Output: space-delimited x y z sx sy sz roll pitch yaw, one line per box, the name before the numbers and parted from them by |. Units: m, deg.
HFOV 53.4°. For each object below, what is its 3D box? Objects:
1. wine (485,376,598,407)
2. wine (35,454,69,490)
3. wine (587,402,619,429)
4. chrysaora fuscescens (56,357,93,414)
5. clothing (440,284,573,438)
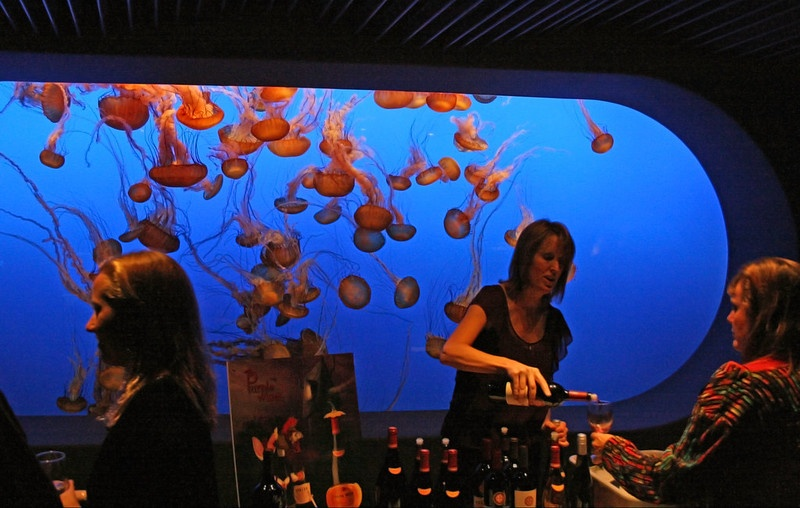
wine | 0.606 0.612 3.404 0.464 0.115 0.187 3 4 20
wine | -1.396 0.914 3.177 0.132 0.193 0.127 -3 -17 -18
wine | 0.858 0.681 3.377 0.119 0.168 0.111 -4 -3 32
chrysaora fuscescens | -1.715 0.687 4.245 0.166 0.318 0.055 9 -11 -28
clothing | 0.609 0.473 3.676 0.372 0.473 0.267 8 9 23
